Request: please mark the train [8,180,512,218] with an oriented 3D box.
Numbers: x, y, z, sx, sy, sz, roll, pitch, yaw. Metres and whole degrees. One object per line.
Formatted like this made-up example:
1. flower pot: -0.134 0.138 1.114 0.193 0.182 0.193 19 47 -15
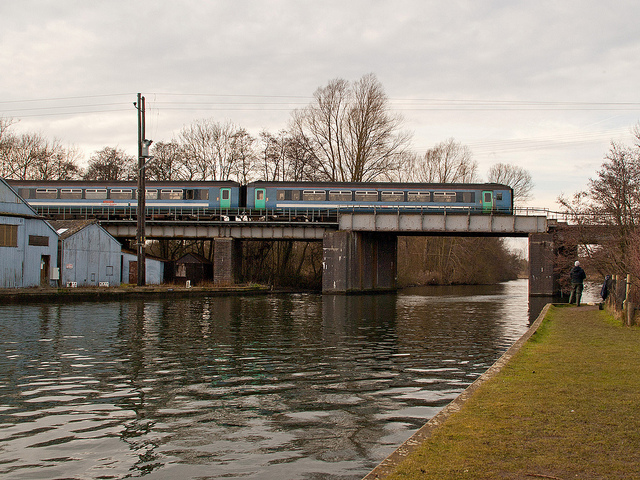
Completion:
1. train: -4.879 -2.892 60.048 32.047 2.614 1.781 0 0 6
